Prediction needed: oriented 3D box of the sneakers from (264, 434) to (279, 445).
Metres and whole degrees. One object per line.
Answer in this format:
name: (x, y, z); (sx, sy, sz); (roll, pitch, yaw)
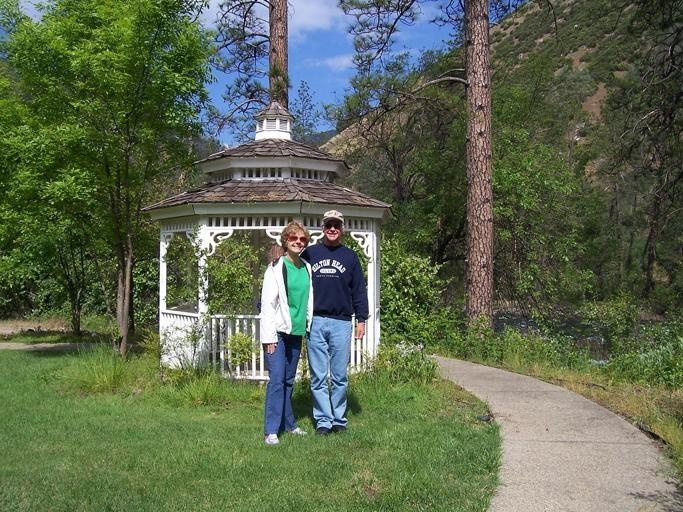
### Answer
sneakers: (-1.096, 2.905, 10.809); (0.108, 0.117, 0.225); (5, -12, -26)

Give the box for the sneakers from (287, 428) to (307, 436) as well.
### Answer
sneakers: (-0.690, 2.850, 11.109); (0.216, 0.115, 0.125); (-1, -1, 21)

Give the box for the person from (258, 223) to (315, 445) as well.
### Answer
person: (-0.870, 1.223, 10.886); (0.962, 3.370, 0.730); (-6, 13, -20)

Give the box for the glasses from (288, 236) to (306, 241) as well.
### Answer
glasses: (-0.691, -0.268, 10.803); (0.255, 0.091, 0.067); (-8, 14, -24)
